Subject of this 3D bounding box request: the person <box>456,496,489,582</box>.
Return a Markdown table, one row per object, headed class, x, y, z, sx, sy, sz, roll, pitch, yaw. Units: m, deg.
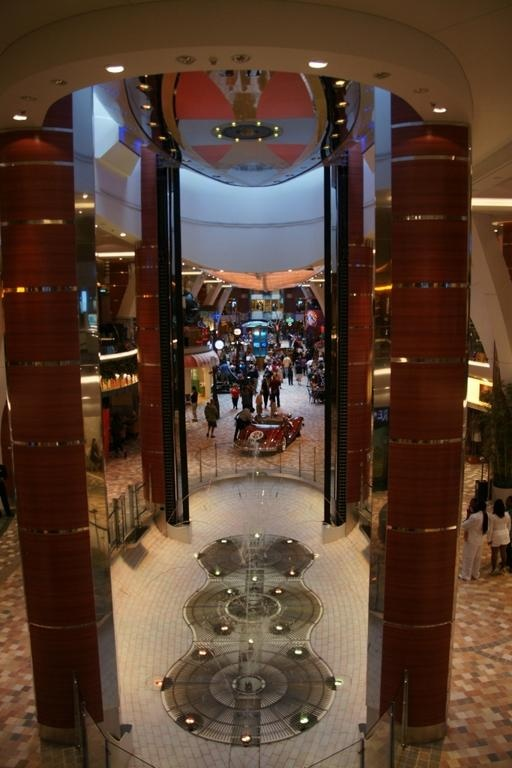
| class | x | y | z | sx | sy | sz | roll | pitch | yaw |
| --- | --- | --- | --- | --- | --- | --- | --- | --- | --- |
| person | 2.874 | 2.032 | 7.808 | 0.340 | 1.018 | 1.007 | -1 | 4 | 19 |
